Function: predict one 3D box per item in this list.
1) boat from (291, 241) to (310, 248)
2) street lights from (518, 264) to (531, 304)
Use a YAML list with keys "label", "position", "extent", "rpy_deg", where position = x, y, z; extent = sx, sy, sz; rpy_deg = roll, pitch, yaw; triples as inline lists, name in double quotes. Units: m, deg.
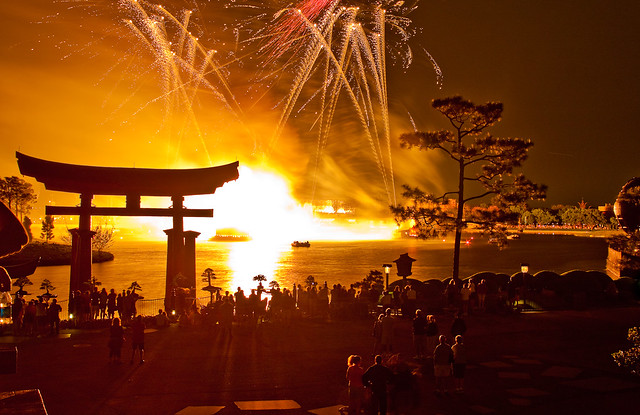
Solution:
- label: "boat"
  position: [-5.157, 10.723, 191.444]
  extent: [4.210, 1.394, 2.309]
  rpy_deg: [2, -5, -10]
- label: "street lights"
  position: [11.733, 4.431, 38.445]
  extent: [0.561, 2.424, 0.532]
  rpy_deg: [1, -4, 6]
